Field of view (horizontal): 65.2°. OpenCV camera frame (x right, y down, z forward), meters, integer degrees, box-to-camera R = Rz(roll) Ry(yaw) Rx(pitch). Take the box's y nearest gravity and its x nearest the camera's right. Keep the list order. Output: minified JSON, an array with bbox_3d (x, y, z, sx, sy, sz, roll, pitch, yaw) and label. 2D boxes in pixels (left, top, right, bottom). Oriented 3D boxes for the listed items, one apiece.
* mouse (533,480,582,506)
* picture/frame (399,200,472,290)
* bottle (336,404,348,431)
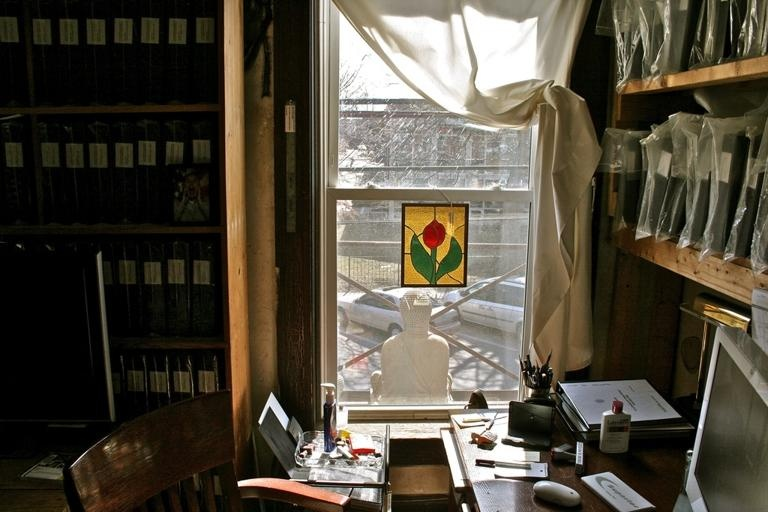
[{"bbox_3d":[0.629,0.844,2.202,0.120,0.042,0.084,2,9,29],"label":"mouse"},{"bbox_3d":[0.249,-0.079,2.980,0.380,0.498,0.018,0,5,-3],"label":"picture/frame"},{"bbox_3d":[-0.210,0.786,2.955,0.088,0.107,0.095,0,1,-13],"label":"bottle"}]
